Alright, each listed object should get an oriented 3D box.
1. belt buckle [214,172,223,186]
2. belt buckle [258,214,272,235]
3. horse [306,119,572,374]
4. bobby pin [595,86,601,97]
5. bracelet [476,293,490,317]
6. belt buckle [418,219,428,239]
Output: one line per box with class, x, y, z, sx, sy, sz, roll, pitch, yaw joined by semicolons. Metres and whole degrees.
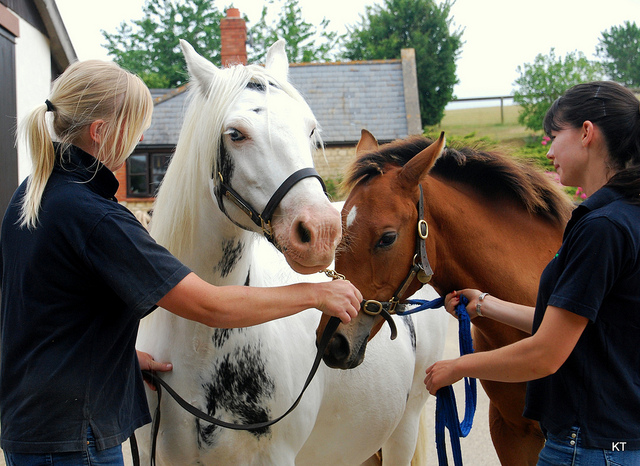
belt buckle;-0.429;-0.227;2.732;0.036;0.030;0.048;25;-35;-24
belt buckle;-0.215;-0.036;2.626;0.051;0.078;0.019;-7;-10;-21
horse;0.847;0.195;3.655;2.121;1.268;0.611;14;-5;-40
bobby pin;1.142;-0.582;2.661;0.004;0.061;0.005;9;-28;33
bracelet;0.767;0.336;3.043;0.022;0.073;0.082;15;-19;10
belt buckle;0.490;-0.019;3.091;0.013;0.088;0.075;-5;-12;37
